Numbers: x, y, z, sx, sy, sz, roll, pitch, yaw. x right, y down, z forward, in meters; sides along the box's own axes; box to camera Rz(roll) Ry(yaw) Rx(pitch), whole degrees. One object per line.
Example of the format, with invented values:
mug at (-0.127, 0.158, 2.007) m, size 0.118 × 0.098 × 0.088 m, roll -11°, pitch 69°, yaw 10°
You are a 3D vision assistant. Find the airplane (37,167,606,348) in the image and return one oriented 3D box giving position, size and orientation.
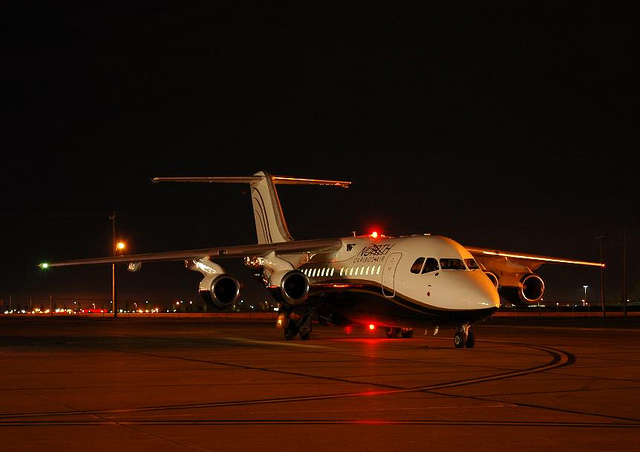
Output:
airplane at (1.104, 0.739, 24.504) m, size 13.693 × 8.357 × 6.441 m, roll -5°, pitch -11°, yaw 21°
